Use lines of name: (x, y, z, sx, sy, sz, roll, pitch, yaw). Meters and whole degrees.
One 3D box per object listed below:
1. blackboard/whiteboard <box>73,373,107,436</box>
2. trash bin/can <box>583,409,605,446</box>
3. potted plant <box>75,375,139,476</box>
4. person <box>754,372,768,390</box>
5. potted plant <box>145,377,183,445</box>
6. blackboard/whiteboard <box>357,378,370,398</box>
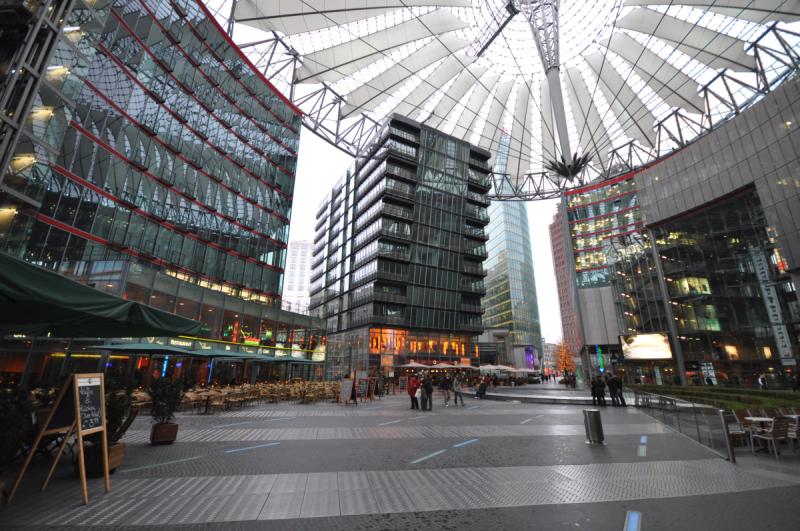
blackboard/whiteboard: (-9.928, 4.435, 13.203, 0.710, 1.864, 0.985, 2, -10, -4)
trash bin/can: (8.270, 6.933, 17.693, 0.776, 1.459, 0.882, -6, -12, 36)
potted plant: (-10.389, 5.646, 14.346, 1.948, 2.821, 1.587, -1, -24, -37)
person: (32.100, 10.276, 36.413, 0.693, 1.232, 0.524, -7, -13, 41)
potted plant: (-9.660, 5.966, 16.774, 1.191, 2.817, 1.460, 7, -11, -29)
blackboard/whiteboard: (-3.044, 10.367, 34.246, 1.038, 1.839, 2.779, 3, -9, -6)
